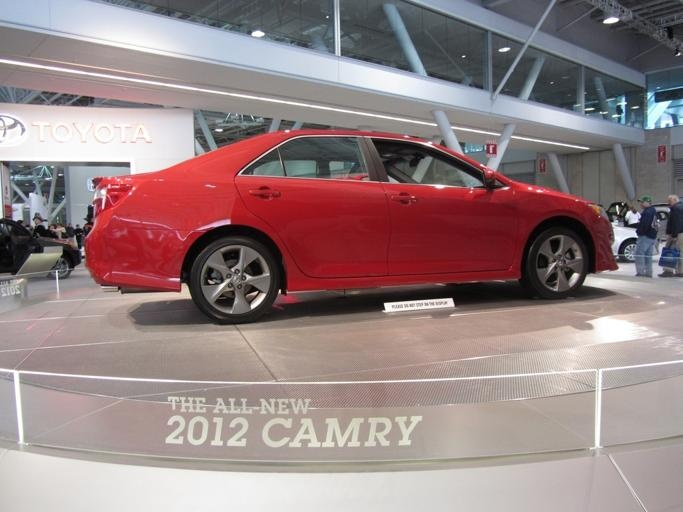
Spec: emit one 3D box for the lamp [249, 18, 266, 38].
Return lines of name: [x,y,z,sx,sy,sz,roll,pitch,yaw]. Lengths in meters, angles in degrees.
lamp: [-1.957,-5.339,8.790,0.374,0.519,0.097,-7,9,-44]

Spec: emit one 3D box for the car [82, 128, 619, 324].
car: [0.310,-0.249,4.162,4.723,1.300,1.945,-2,1,-15]

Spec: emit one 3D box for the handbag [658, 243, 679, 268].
handbag: [4.070,0.031,4.739,0.194,0.203,0.419,4,7,39]
